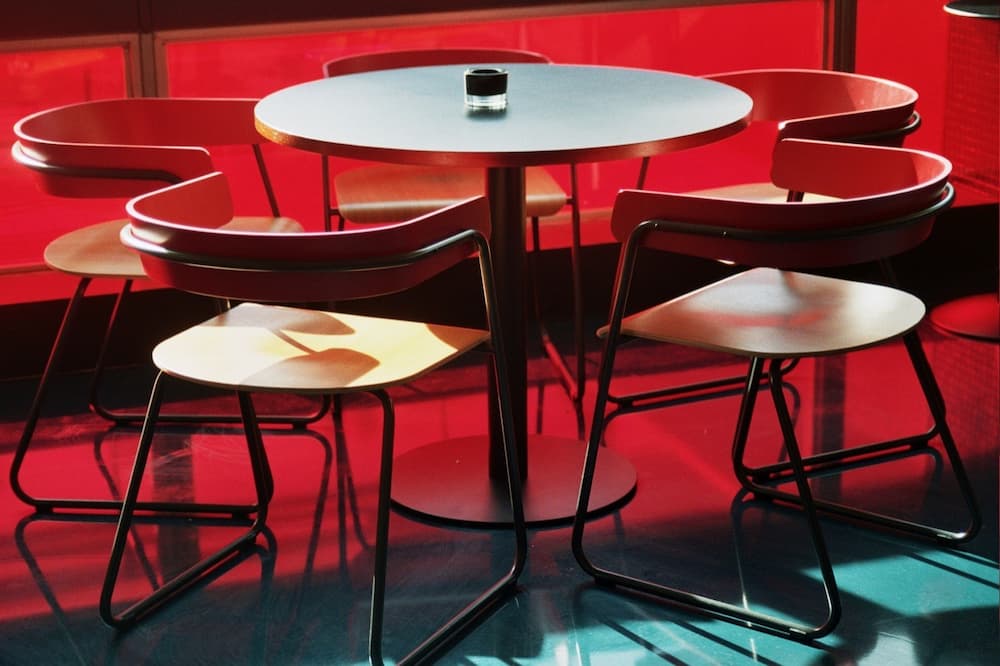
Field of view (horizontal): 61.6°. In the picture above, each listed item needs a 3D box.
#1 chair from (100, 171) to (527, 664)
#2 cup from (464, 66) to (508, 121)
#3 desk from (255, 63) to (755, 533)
[{"bbox_3d":[-0.424,0.172,2.166,0.952,1.060,0.626,19,34,31],"label":"chair"},{"bbox_3d":[-0.042,-0.704,2.447,0.177,0.111,0.165,0,21,0],"label":"cup"},{"bbox_3d":[0.038,-0.245,2.208,1.249,1.078,0.933,-10,40,15],"label":"desk"}]
